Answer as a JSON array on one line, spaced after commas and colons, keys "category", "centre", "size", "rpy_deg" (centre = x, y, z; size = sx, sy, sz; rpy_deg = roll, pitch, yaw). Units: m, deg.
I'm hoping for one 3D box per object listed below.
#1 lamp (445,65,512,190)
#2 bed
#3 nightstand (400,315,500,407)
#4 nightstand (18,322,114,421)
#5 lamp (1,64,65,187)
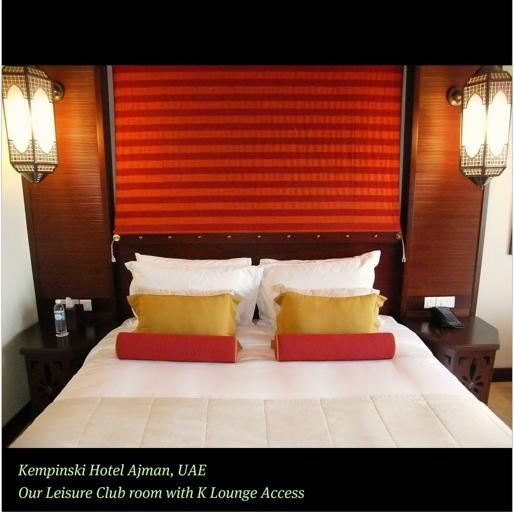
[{"category": "lamp", "centre": [1.141, -0.649, 2.096], "size": [0.124, 0.573, 0.337], "rpy_deg": [-5, 16, -13]}, {"category": "bed", "centre": [0.042, 0.281, 2.076], "size": [1.914, 0.564, 1.476], "rpy_deg": [-4, 16, -10]}, {"category": "nightstand", "centre": [1.065, 0.502, 2.364], "size": [0.420, 0.447, 0.416], "rpy_deg": [-3, 28, -1]}, {"category": "nightstand", "centre": [-1.005, 0.523, 2.441], "size": [0.388, 0.703, 0.422], "rpy_deg": [3, 24, 5]}, {"category": "lamp", "centre": [-1.127, -0.658, 2.089], "size": [0.131, 0.558, 0.292], "rpy_deg": [3, 16, 13]}]
